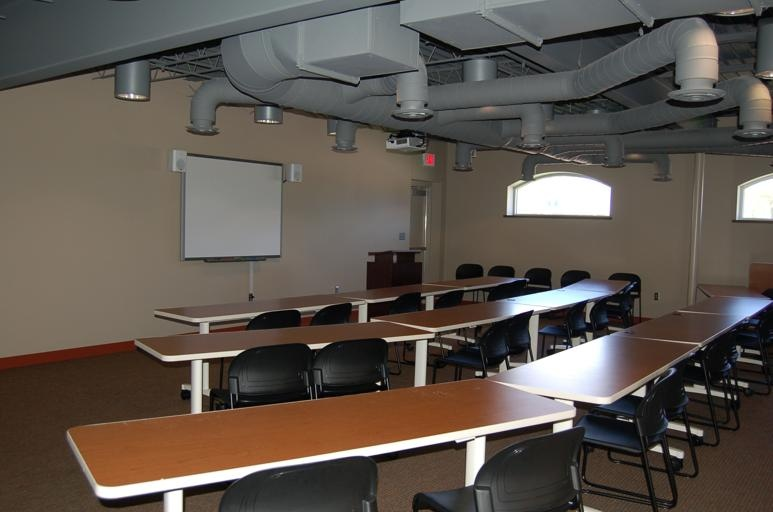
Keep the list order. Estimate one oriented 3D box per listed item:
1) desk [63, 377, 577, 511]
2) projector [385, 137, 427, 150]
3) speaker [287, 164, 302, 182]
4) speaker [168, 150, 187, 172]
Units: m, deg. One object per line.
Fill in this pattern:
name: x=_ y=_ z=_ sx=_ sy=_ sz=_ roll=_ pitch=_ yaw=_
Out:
desk: x=-0.561 y=1.261 z=4.192 sx=3.254 sy=0.491 sz=0.643 roll=0 pitch=-1 yaw=-14
projector: x=0.383 y=-1.687 z=8.903 sx=0.310 sy=0.110 sz=0.303 roll=-2 pitch=4 yaw=-43
speaker: x=-1.604 y=-1.430 z=10.090 sx=0.172 sy=0.310 sz=0.328 roll=1 pitch=1 yaw=30
speaker: x=-3.129 y=-1.415 z=8.801 sx=0.172 sy=0.311 sz=0.222 roll=0 pitch=0 yaw=10
